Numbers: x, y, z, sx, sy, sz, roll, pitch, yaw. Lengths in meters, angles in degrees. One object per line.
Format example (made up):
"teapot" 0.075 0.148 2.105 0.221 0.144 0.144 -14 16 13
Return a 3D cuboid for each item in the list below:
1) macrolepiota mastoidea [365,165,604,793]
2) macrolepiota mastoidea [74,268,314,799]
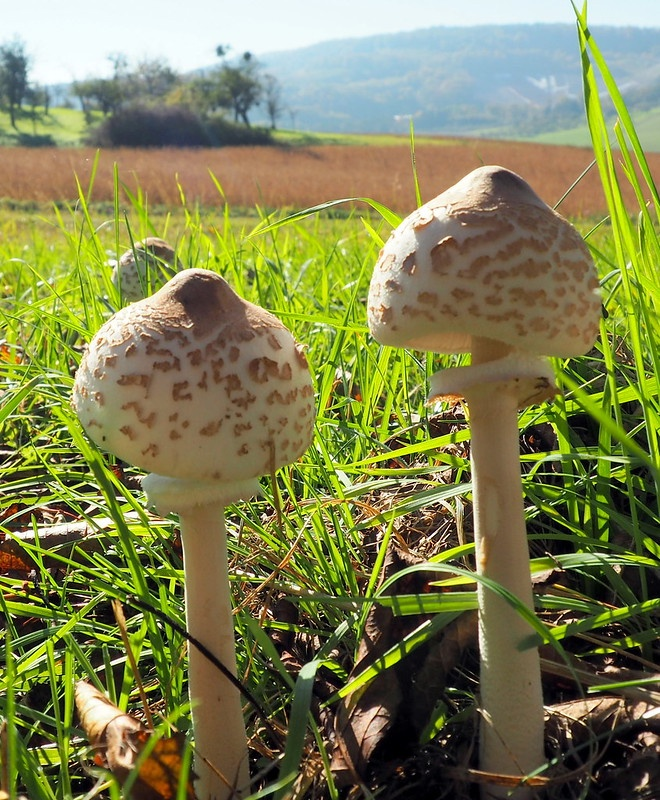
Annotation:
"macrolepiota mastoidea" 0.372 0.219 2.016 0.517 1.560 0.628 2 22 29
"macrolepiota mastoidea" -0.277 0.314 2.185 0.822 1.165 0.954 -3 -1 -10
